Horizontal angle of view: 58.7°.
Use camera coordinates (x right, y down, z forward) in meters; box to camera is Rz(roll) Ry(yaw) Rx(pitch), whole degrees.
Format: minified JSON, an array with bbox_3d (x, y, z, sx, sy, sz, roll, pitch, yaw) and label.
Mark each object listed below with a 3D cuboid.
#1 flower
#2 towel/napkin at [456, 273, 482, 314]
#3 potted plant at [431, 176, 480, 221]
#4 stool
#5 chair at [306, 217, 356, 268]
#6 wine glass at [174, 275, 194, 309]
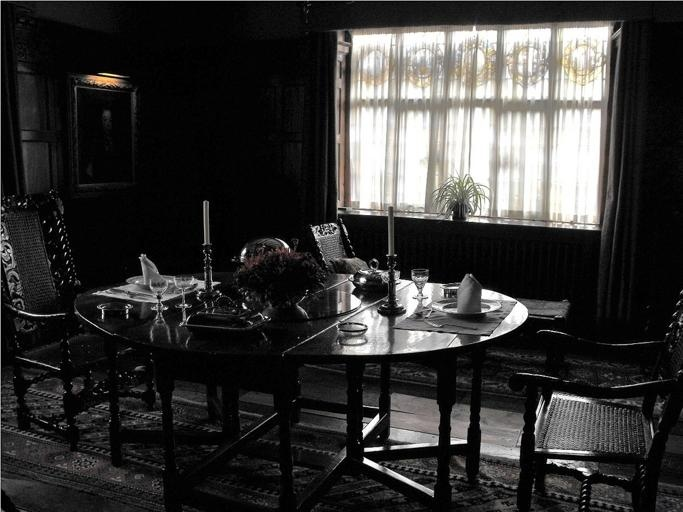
[{"bbox_3d":[-0.314,0.103,3.043,0.320,0.235,0.322,-1,2,-4],"label":"flower"},{"bbox_3d":[0.694,0.194,3.234,0.125,0.213,0.126,-4,-6,-32],"label":"towel/napkin"},{"bbox_3d":[1.117,-0.547,5.703,0.509,0.433,0.467,-2,5,-5],"label":"potted plant"},{"bbox_3d":[1.534,0.602,4.820,0.504,0.277,0.703,2,9,23],"label":"stool"},{"bbox_3d":[-0.085,-0.127,5.128,0.312,0.410,0.198,-23,3,-42],"label":"chair"},{"bbox_3d":[-0.920,0.213,3.537,0.135,0.211,0.132,0,10,5],"label":"wine glass"}]
